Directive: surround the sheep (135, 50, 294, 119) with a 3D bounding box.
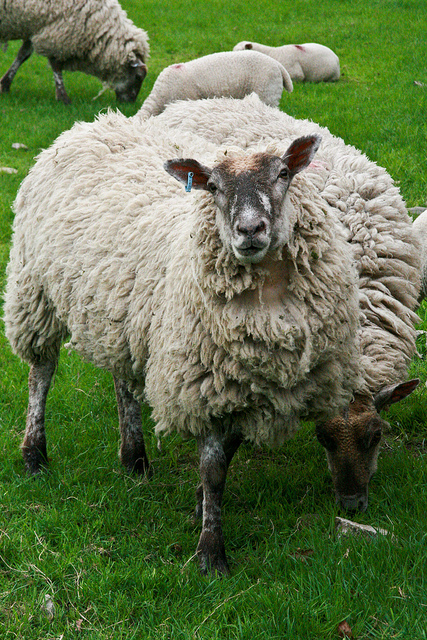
[{"bbox_3d":[-0.014,-2.341,7.389,1.750,0.882,0.477,-13,29,-11],"label":"sheep"}]
